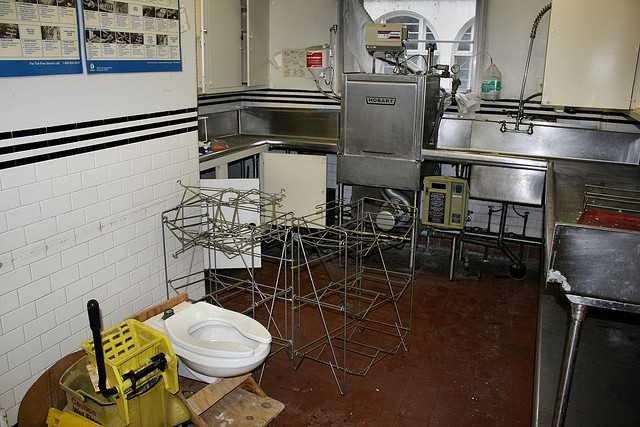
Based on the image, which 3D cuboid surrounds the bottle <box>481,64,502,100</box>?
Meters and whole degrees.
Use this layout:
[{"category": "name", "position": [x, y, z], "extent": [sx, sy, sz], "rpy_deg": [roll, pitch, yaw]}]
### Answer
[{"category": "bottle", "position": [2.051, -1.568, 5.227], "extent": [0.244, 0.409, 0.241], "rpy_deg": [-1, 20, 0]}]

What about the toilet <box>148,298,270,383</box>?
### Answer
[{"category": "toilet", "position": [-0.740, 0.805, 2.927], "extent": [0.739, 0.348, 0.480], "rpy_deg": [19, 26, 26]}]

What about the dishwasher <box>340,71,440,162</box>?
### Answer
[{"category": "dishwasher", "position": [0.793, -1.104, 5.130], "extent": [1.022, 0.979, 1.029], "rpy_deg": [6, 15, 23]}]

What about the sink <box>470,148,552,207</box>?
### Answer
[{"category": "sink", "position": [2.091, -0.453, 4.779], "extent": [1.026, 0.659, 0.553], "rpy_deg": [8, 14, 24]}]
